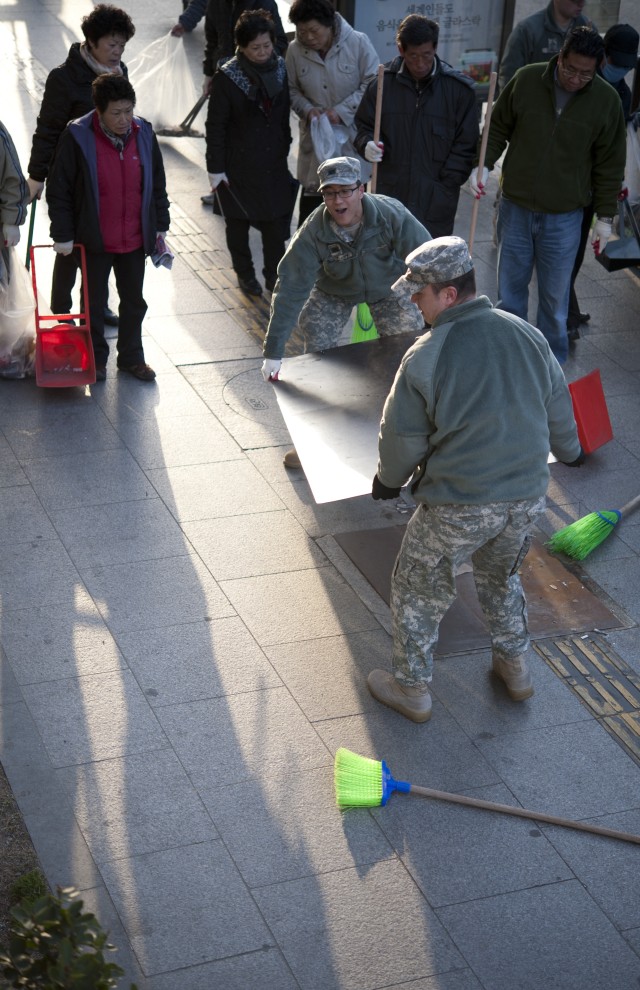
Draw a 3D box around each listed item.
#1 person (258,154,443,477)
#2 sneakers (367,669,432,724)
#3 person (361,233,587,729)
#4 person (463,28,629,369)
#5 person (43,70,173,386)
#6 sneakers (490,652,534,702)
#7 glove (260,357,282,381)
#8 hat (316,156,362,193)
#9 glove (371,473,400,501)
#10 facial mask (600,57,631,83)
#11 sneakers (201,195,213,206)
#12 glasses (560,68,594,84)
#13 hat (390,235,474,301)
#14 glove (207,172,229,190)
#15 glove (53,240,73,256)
[{"bbox_3d":[0.086,-0.925,4.284,0.971,1.316,0.851,-14,36,-10],"label":"person"},{"bbox_3d":[0.272,0.706,3.217,0.109,0.116,0.285,-26,41,-32],"label":"sneakers"},{"bbox_3d":[0.511,0.021,2.909,0.677,1.674,0.398,4,26,-2],"label":"person"},{"bbox_3d":[1.388,-1.728,5.356,0.839,2.094,0.706,14,40,23],"label":"person"},{"bbox_3d":[-1.244,-1.544,5.219,0.573,1.743,0.570,16,28,23],"label":"person"},{"bbox_3d":[0.725,0.694,3.280,0.074,0.142,0.143,-29,76,-8],"label":"sneakers"},{"bbox_3d":[-0.229,-0.591,4.267,0.105,0.135,0.049,12,-2,23],"label":"glove"},{"bbox_3d":[0.094,-1.385,3.777,0.186,0.134,0.199,4,24,-1],"label":"hat"},{"bbox_3d":[0.226,-0.021,2.967,0.076,0.083,0.093,-3,25,-4],"label":"glove"},{"bbox_3d":[1.950,-2.752,5.684,0.141,0.105,0.142,0,57,-17],"label":"facial mask"},{"bbox_3d":[-1.030,-2.681,7.947,0.071,0.069,0.164,1,39,-19],"label":"sneakers"},{"bbox_3d":[1.387,-2.249,4.733,0.161,0.084,0.204,8,24,9],"label":"glasses"},{"bbox_3d":[0.324,-0.684,2.652,0.262,0.204,0.156,22,30,35],"label":"hat"},{"bbox_3d":[-0.728,-2.215,6.170,0.107,0.123,0.093,1,17,16],"label":"glove"},{"bbox_3d":[-1.519,-1.441,5.143,0.088,0.062,0.088,-3,-12,-27],"label":"glove"}]
